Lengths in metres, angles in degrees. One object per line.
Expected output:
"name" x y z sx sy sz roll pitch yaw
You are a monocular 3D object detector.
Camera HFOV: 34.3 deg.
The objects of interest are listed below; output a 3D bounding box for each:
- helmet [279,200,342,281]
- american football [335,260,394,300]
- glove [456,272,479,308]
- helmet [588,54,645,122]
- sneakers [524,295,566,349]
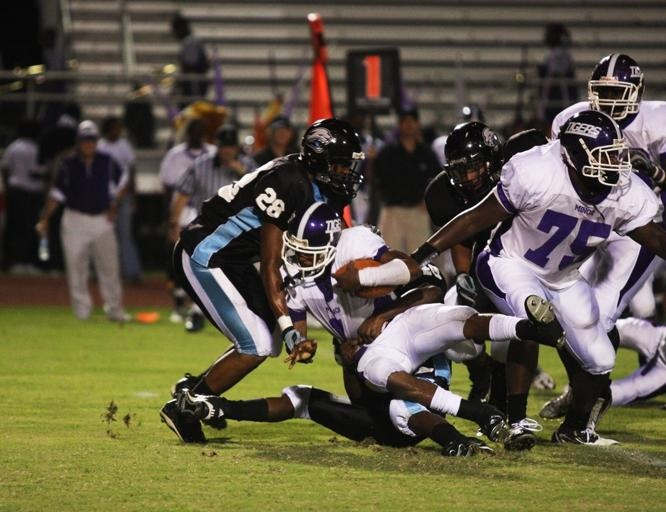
"helmet" -0.134 -0.083 6.806 0.374 0.503 0.248 1 6 3
"american football" 0.209 0.143 6.680 0.290 0.233 0.175 -4 -9 7
"glove" 0.892 0.229 7.257 0.109 0.213 0.148 -25 -1 42
"helmet" 2.018 -1.168 7.724 0.374 0.419 0.480 9 35 26
"sneakers" 1.247 0.394 6.382 0.183 0.317 0.101 -43 22 -32
